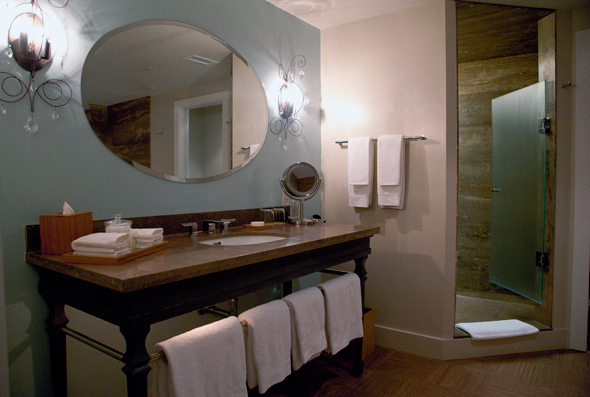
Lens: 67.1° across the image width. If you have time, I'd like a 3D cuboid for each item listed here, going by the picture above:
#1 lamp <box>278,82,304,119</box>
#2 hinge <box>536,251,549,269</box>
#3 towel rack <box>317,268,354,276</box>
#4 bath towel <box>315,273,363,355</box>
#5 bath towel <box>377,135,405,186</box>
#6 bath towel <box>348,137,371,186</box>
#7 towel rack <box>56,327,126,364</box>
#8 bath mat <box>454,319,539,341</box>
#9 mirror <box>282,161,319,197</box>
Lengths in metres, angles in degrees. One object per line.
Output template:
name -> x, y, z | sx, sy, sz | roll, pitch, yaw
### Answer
lamp -> -0.036, -0.811, 3.665 | 0.246, 0.278, 0.055 | 5, -2, -45
hinge -> 2.075, 0.513, 3.736 | 0.097, 0.159, 0.183 | -1, -3, 24
towel rack -> 0.305, 0.556, 3.387 | 0.167, 0.042, 0.178 | -2, -4, 30
bath towel -> 0.351, 0.760, 3.112 | 0.338, 0.539, 0.246 | 9, 7, 32
bath towel -> 0.785, -0.299, 3.678 | 0.235, 0.480, 0.063 | 0, -3, 39
bath towel -> 0.552, -0.297, 3.786 | 0.244, 0.466, 0.051 | 0, 0, 34
towel rack -> -1.101, 0.810, 2.454 | 0.587, 0.085, 0.069 | 8, 17, 31
bath mat -> 1.675, 1.079, 3.744 | 0.636, 0.065, 0.287 | -2, 14, -6
mirror -> 0.055, -0.152, 3.517 | 0.302, 0.259, 0.108 | -12, 19, -39
